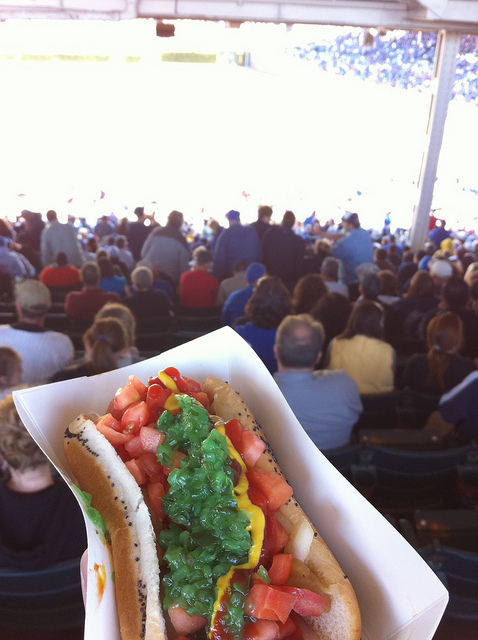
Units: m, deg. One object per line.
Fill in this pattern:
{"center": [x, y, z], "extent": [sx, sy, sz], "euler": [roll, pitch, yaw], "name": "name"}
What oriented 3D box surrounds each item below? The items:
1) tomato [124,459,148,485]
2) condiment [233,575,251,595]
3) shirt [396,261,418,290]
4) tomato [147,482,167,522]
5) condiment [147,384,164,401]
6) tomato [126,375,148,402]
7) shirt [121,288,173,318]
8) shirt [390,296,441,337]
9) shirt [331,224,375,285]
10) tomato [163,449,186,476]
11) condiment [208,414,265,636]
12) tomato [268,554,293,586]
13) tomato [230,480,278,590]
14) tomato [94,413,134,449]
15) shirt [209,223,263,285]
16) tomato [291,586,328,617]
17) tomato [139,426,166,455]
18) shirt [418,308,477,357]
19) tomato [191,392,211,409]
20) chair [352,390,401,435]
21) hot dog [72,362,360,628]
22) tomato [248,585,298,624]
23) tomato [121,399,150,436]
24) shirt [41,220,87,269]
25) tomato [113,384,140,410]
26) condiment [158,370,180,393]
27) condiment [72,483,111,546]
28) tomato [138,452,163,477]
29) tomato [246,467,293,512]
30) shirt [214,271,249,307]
{"center": [-0.192, 0.285, 0.994], "extent": [0.016, 0.039, 0.041], "euler": [-30, 14, -10], "name": "tomato"}
{"center": [0.008, 0.408, 0.810], "extent": [0.035, 0.016, 0.018], "euler": [-12, 28, -39], "name": "condiment"}
{"center": [0.988, -0.271, 3.131], "extent": [0.139, 0.140, 0.038], "euler": [11, 5, 11], "name": "shirt"}
{"center": [-0.153, 0.318, 0.969], "extent": [0.040, 0.017, 0.068], "euler": [-37, 18, -6], "name": "tomato"}
{"center": [-0.160, 0.139, 1.014], "extent": [0.023, 0.018, 0.031], "euler": [5, 59, 9], "name": "condiment"}
{"center": [-0.203, 0.136, 1.078], "extent": [0.013, 0.048, 0.044], "euler": [-25, 68, -10], "name": "tomato"}
{"center": [-0.540, -0.055, 3.231], "extent": [0.211, 0.208, 0.080], "euler": [-21, -9, -14], "name": "shirt"}
{"center": [1.036, -0.021, 3.012], "extent": [0.235, 0.234, 0.087], "euler": [-6, 3, -1], "name": "shirt"}
{"center": [0.660, -0.382, 3.095], "extent": [0.231, 0.318, 0.125], "euler": [-2, 24, -22], "name": "shirt"}
{"center": [-0.108, 0.238, 0.891], "extent": [0.025, 0.045, 0.024], "euler": [20, 37, -15], "name": "tomato"}
{"center": [-0.022, 0.325, 0.871], "extent": [0.067, 0.080, 0.319], "euler": [-12, 67, 3], "name": "condiment"}
{"center": [0.066, 0.416, 0.876], "extent": [0.032, 0.035, 0.061], "euler": [13, 22, 15], "name": "tomato"}
{"center": [0.028, 0.349, 0.871], "extent": [0.091, 0.041, 0.110], "euler": [-7, 65, -6], "name": "tomato"}
{"center": [-0.252, 0.217, 1.046], "extent": [0.065, 0.026, 0.067], "euler": [45, 21, 14], "name": "tomato"}
{"center": [0.001, -0.421, 3.244], "extent": [0.455, 0.406, 0.242], "euler": [-2, 22, 0], "name": "shirt"}
{"center": [0.113, 0.452, 0.843], "extent": [0.055, 0.053, 0.016], "euler": [24, 32, -11], "name": "tomato"}
{"center": [-0.159, 0.215, 0.967], "extent": [0.049, 0.047, 0.019], "euler": [-4, 1, 37], "name": "tomato"}
{"center": [1.302, 0.040, 3.156], "extent": [0.298, 0.302, 0.109], "euler": [5, 11, 14], "name": "shirt"}
{"center": [-0.076, 0.164, 1.096], "extent": [0.026, 0.020, 0.029], "euler": [17, 15, -9], "name": "tomato"}
{"center": [0.817, 0.515, 3.104], "extent": [0.247, 0.196, 0.234], "euler": [1, 7, 3], "name": "chair"}
{"center": [-0.078, 0.353, 1.045], "extent": [0.389, 0.274, 0.738], "euler": [-20, 18, -17], "name": "hot dog"}
{"center": [0.049, 0.427, 0.800], "extent": [0.070, 0.036, 0.040], "euler": [9, 22, 5], "name": "tomato"}
{"center": [-0.199, 0.186, 1.031], "extent": [0.026, 0.052, 0.069], "euler": [21, 50, -38], "name": "tomato"}
{"center": [-1.020, -0.452, 3.058], "extent": [0.224, 0.225, 0.122], "euler": [-6, 28, -15], "name": "shirt"}
{"center": [-0.231, 0.152, 1.063], "extent": [0.051, 0.051, 0.020], "euler": [-3, -3, 2], "name": "tomato"}
{"center": [-0.140, 0.121, 1.049], "extent": [0.026, 0.015, 0.050], "euler": [-12, 54, -46], "name": "condiment"}
{"center": [-0.262, 0.325, 0.936], "extent": [0.058, 0.098, 0.114], "euler": [-3, 24, -22], "name": "condiment"}
{"center": [-0.164, 0.268, 0.985], "extent": [0.045, 0.047, 0.014], "euler": [-24, -13, -5], "name": "tomato"}
{"center": [0.048, 0.308, 0.976], "extent": [0.077, 0.028, 0.078], "euler": [37, 50, 10], "name": "tomato"}
{"center": [-0.049, -0.190, 3.210], "extent": [0.207, 0.198, 0.082], "euler": [1, -7, -3], "name": "shirt"}
